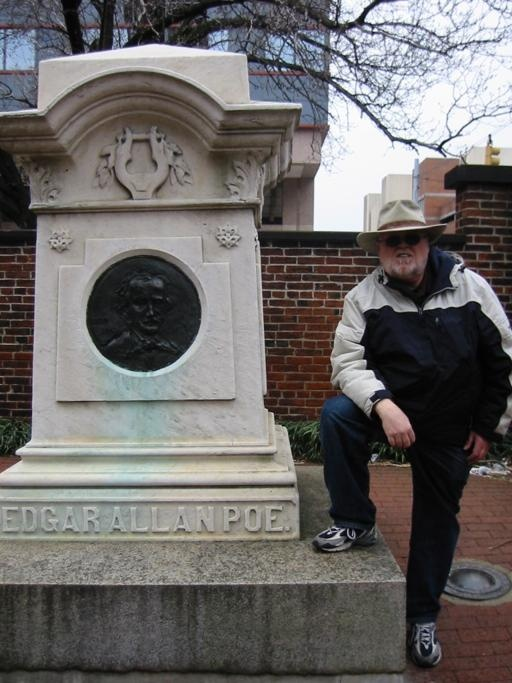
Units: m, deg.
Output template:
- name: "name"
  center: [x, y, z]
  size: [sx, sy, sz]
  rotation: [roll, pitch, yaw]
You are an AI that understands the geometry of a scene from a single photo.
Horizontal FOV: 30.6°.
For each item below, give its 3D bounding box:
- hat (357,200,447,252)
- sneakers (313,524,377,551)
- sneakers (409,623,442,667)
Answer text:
- name: "hat"
  center: [0.666, -0.524, 4.290]
  size: [0.284, 0.098, 0.283]
  rotation: [-3, -12, 13]
- name: "sneakers"
  center: [0.380, 0.880, 4.097]
  size: [0.316, 0.121, 0.100]
  rotation: [0, 33, -22]
- name: "sneakers"
  center: [0.708, 1.293, 3.956]
  size: [0.145, 0.115, 0.164]
  rotation: [-3, 2, 10]
